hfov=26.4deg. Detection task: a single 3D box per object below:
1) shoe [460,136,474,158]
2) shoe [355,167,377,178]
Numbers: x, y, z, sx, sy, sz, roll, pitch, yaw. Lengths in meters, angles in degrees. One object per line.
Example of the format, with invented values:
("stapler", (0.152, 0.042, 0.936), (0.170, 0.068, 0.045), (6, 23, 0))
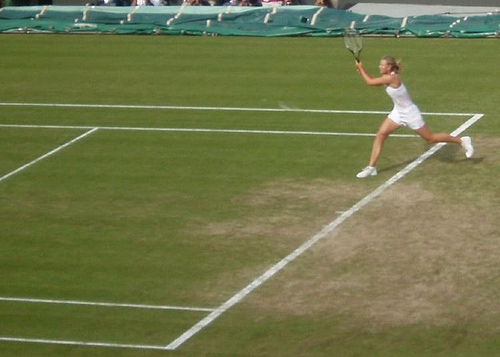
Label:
("shoe", (4.435, -0.646, 21.885), (0.274, 0.448, 0.198), (-29, 27, -11))
("shoe", (2.341, -0.116, 21.574), (0.547, 0.136, 0.157), (-3, 16, -8))
